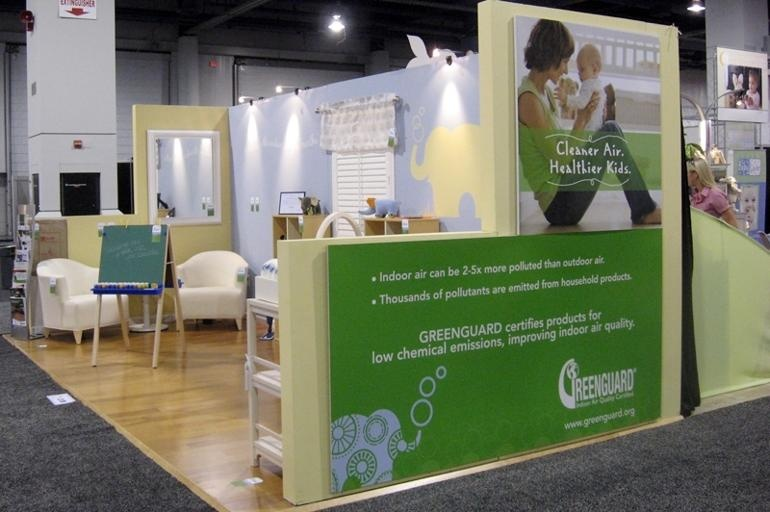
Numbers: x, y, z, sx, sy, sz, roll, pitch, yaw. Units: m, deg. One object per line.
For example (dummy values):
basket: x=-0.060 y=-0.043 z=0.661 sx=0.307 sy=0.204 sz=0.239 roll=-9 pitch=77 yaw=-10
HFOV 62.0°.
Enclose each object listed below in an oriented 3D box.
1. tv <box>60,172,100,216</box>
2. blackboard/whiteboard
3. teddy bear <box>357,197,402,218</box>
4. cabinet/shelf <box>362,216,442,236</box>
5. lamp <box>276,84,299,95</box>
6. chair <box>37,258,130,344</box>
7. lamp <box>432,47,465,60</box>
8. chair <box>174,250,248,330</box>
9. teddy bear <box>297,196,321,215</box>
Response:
tv: x=-4.514 y=-0.942 z=9.710 sx=0.575 sy=0.860 sz=0.587 roll=-1 pitch=5 yaw=-18
blackboard/whiteboard: x=-3.046 y=0.041 z=7.769 sx=0.841 sy=0.778 sz=0.301 roll=-1 pitch=-14 yaw=-1
teddy bear: x=-0.075 y=-0.633 z=8.350 sx=0.610 sy=0.276 sz=0.218 roll=5 pitch=4 yaw=43
cabinet/shelf: x=0.175 y=-0.391 z=7.978 sx=0.350 sy=0.276 sz=1.141 roll=-10 pitch=15 yaw=-41
lamp: x=-2.503 y=-4.235 z=16.080 sx=0.505 sy=0.238 sz=0.859 roll=-3 pitch=11 yaw=-10
chair: x=-4.192 y=0.554 z=8.843 sx=1.040 sy=1.030 sz=1.097 roll=3 pitch=4 yaw=32
lamp: x=0.749 y=-2.406 z=7.600 sx=0.393 sy=0.181 sz=0.643 roll=0 pitch=11 yaw=5
chair: x=-2.489 y=0.461 z=9.406 sx=0.959 sy=1.039 sz=0.978 roll=0 pitch=5 yaw=3
teddy bear: x=-1.095 y=-0.749 z=9.240 sx=0.272 sy=0.257 sz=0.232 roll=-6 pitch=12 yaw=-20
